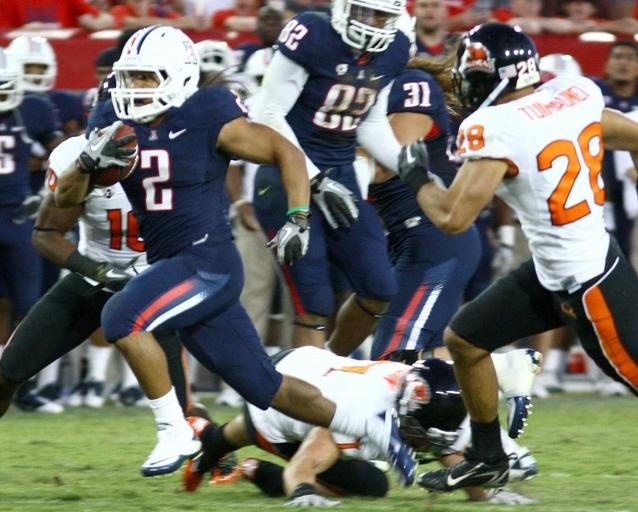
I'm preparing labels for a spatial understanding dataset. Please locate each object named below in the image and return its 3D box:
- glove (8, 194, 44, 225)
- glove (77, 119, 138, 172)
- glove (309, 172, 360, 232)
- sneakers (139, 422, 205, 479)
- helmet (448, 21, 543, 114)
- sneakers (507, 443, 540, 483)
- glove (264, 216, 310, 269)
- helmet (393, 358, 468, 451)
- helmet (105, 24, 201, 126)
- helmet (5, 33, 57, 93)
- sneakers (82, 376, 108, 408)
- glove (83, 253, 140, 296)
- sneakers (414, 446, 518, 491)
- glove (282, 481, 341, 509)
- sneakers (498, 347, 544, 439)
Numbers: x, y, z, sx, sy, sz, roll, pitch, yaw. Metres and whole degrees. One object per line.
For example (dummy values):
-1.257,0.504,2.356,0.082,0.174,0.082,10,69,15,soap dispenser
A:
-1.901,-0.292,5.736,0.055,0.219,0.214,39,4,-5,glove
-0.770,-0.396,3.212,0.187,0.199,0.098,25,25,-23,glove
0.064,-0.247,3.904,0.273,0.162,0.110,48,15,3,glove
-0.583,0.715,3.285,0.116,0.196,0.326,-13,-2,39,sneakers
0.699,-0.717,3.289,0.300,0.314,0.352,-14,14,-35,helmet
0.811,0.812,3.380,0.162,0.137,0.105,0,18,-2,sneakers
-0.110,-0.058,3.449,0.165,0.191,0.076,13,20,5,glove
0.508,0.571,3.338,0.366,0.290,0.287,-16,-22,42,helmet
-0.650,-0.732,3.468,0.335,0.406,0.264,4,6,-11,helmet
-2.029,-1.381,6.222,0.379,0.382,0.470,-3,24,-14,helmet
-1.548,0.949,5.985,0.189,0.203,0.514,3,-6,-11,sneakers
-0.941,0.081,3.893,0.334,0.102,0.076,-35,2,36,glove
0.566,0.817,3.328,0.402,0.156,0.133,-2,-4,-2,sneakers
-0.015,0.841,3.002,0.195,0.076,0.129,4,6,-5,glove
0.805,0.546,3.530,0.150,0.398,0.187,-2,10,3,sneakers
